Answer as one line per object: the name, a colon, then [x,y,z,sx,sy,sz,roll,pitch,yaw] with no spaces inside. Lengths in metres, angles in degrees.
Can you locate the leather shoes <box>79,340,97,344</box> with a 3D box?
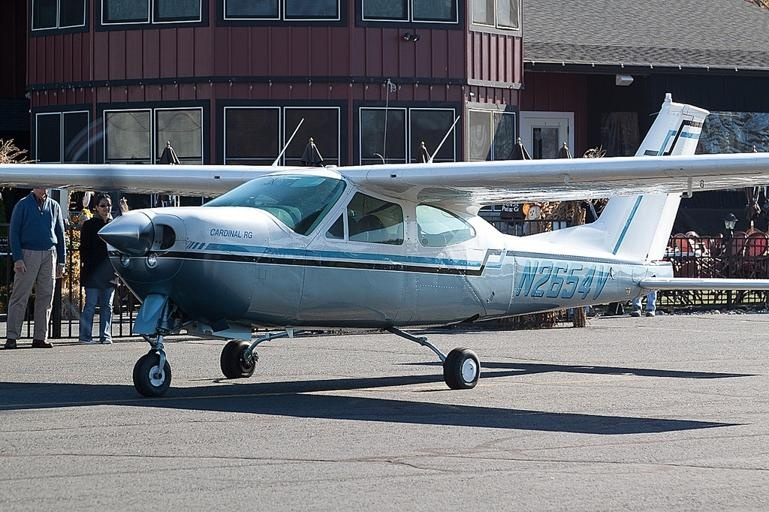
leather shoes: [-4.925,1.433,21.188,0.282,0.102,0.092,1,-1,-4]

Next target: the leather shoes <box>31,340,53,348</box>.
leather shoes: [-5.519,1.426,20.582,0.375,0.135,0.120,2,3,-13]

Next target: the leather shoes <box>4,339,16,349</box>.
leather shoes: [-5.976,1.418,20.383,0.192,0.176,0.126,4,-4,0]

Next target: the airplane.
airplane: [0.439,0.254,17.209,8.019,3.184,2.686,-5,-8,-7]
